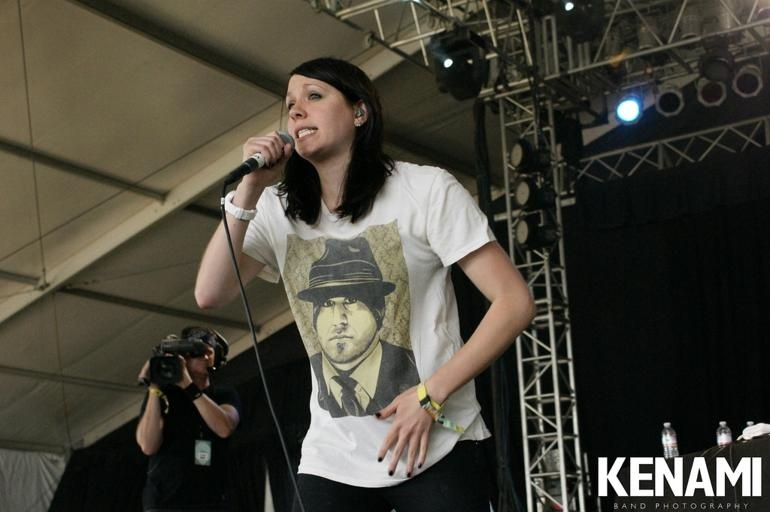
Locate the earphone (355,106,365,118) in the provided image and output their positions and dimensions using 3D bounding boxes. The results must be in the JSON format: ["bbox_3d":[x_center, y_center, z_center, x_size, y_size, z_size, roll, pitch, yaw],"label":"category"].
[{"bbox_3d":[-0.181,-1.064,7.607,0.049,0.060,0.065,2,3,-8],"label":"earphone"}]

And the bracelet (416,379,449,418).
[{"bbox_3d":[0.297,1.043,7.425,0.242,0.169,0.264,41,-21,20],"label":"bracelet"}]
